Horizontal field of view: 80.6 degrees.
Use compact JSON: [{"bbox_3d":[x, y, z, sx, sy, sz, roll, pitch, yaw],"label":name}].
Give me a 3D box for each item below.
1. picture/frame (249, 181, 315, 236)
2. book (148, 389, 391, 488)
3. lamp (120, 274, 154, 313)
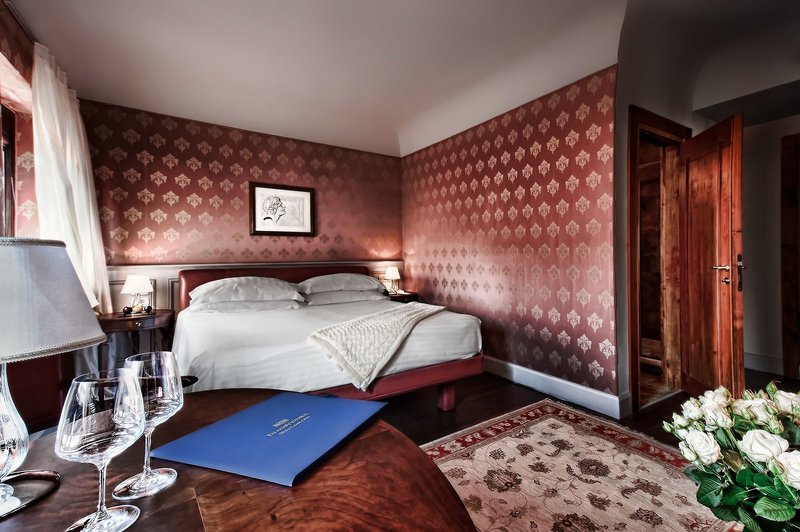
[{"bbox_3d":[-1.417,-0.676,5.499,0.637,0.553,0.051,0,-3,-29],"label":"picture/frame"},{"bbox_3d":[-0.566,0.749,2.076,0.460,0.054,0.522,0,7,24],"label":"book"},{"bbox_3d":[-2.540,0.270,4.557,0.311,0.393,0.321,-5,-7,-20],"label":"lamp"}]
